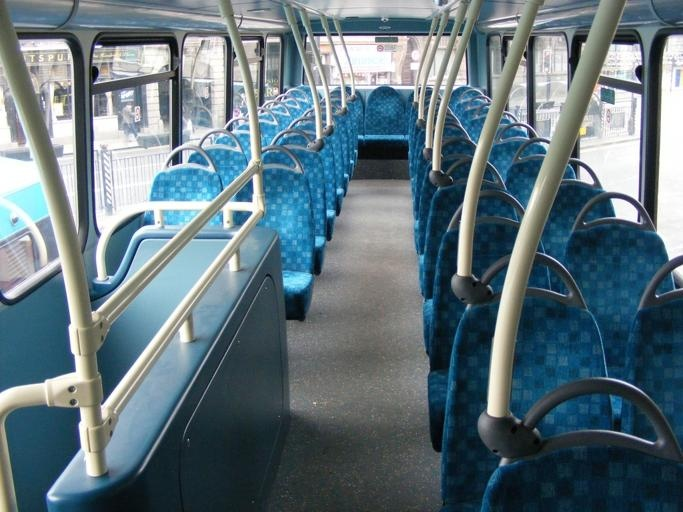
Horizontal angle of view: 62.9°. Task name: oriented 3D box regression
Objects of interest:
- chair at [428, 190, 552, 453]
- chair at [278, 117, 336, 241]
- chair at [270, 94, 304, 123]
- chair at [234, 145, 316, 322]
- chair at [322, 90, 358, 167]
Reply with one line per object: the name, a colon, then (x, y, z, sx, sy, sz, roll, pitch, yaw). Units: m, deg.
chair: (0.746, 0.324, 2.759, 0.628, 1.082, 0.861, 7, 52, 4)
chair: (-0.399, -0.618, 5.188, 0.546, 1.029, 0.648, -6, 30, 8)
chair: (-0.845, -2.279, 8.609, 0.526, 0.344, 0.759, 1, 30, 0)
chair: (-0.460, -0.204, 4.346, 0.493, 1.148, 0.960, -4, 20, -9)
chair: (0.092, -1.822, 8.223, 0.445, 0.824, 0.690, -24, 16, -40)
